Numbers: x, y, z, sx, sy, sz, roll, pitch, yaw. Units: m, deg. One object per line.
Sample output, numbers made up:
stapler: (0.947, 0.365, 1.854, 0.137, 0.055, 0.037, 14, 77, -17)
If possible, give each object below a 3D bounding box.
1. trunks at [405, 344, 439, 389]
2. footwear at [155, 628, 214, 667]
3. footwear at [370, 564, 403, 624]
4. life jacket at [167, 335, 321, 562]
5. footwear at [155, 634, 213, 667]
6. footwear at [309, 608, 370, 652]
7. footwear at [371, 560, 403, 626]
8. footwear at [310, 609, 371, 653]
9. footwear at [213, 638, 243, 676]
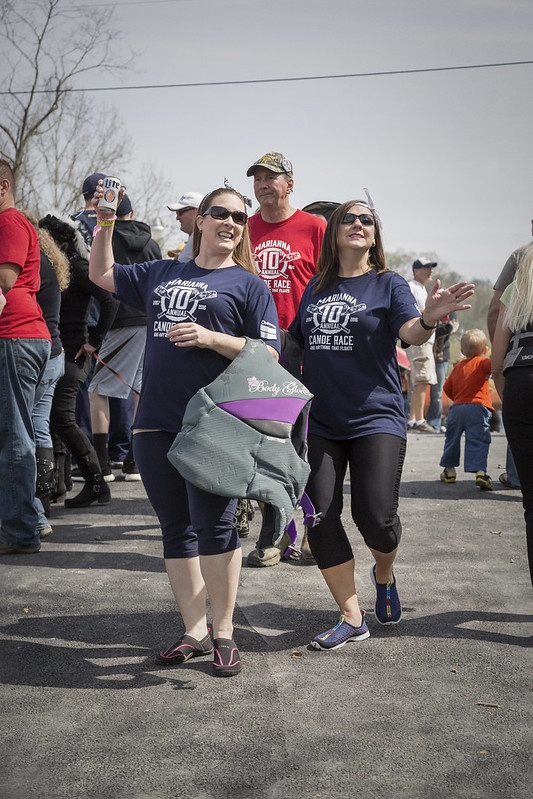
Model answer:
trunks: (2.466, -0.541, 11.867, 0.484, 0.746, 0.640, -8, 14, -15)
footwear: (-0.321, 0.984, 2.964, 0.208, 0.078, 0.092, -2, -3, -43)
footwear: (0.541, 0.869, 3.396, 0.116, 0.273, 0.115, -5, -10, 1)
life jacket: (0.039, 0.162, 2.943, 0.773, 0.699, 0.296, 22, 4, 18)
footwear: (-0.320, 0.978, 2.945, 0.195, 0.074, 0.092, -2, -3, -41)
footwear: (0.306, 0.968, 3.146, 0.278, 0.103, 0.096, -5, 0, -39)
footwear: (0.541, 0.876, 3.398, 0.118, 0.274, 0.117, -4, -8, 4)
footwear: (0.308, 0.972, 3.146, 0.277, 0.103, 0.096, -5, 0, -38)
footwear: (-0.146, 0.962, 2.803, 0.108, 0.115, 0.110, 0, 2, -2)
